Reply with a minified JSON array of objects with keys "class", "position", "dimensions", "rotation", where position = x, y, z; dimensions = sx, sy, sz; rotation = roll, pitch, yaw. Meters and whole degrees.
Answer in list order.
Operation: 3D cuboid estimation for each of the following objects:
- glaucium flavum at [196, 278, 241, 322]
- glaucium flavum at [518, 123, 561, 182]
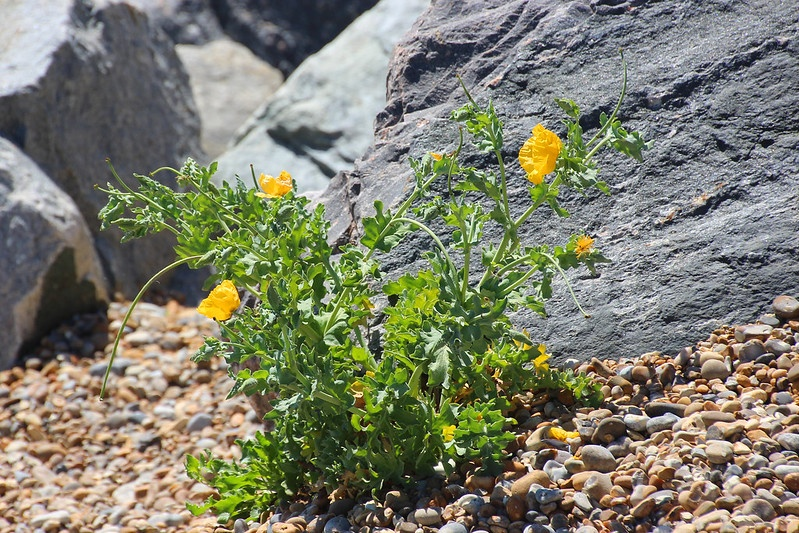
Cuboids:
[{"class":"glaucium flavum","position":[-0.894,0.181,7.256],"dimensions":[0.182,0.145,0.204],"rotation":[-56,-1,19]},{"class":"glaucium flavum","position":[0.695,-0.559,7.321],"dimensions":[0.225,0.133,0.270],"rotation":[-25,64,47]}]
